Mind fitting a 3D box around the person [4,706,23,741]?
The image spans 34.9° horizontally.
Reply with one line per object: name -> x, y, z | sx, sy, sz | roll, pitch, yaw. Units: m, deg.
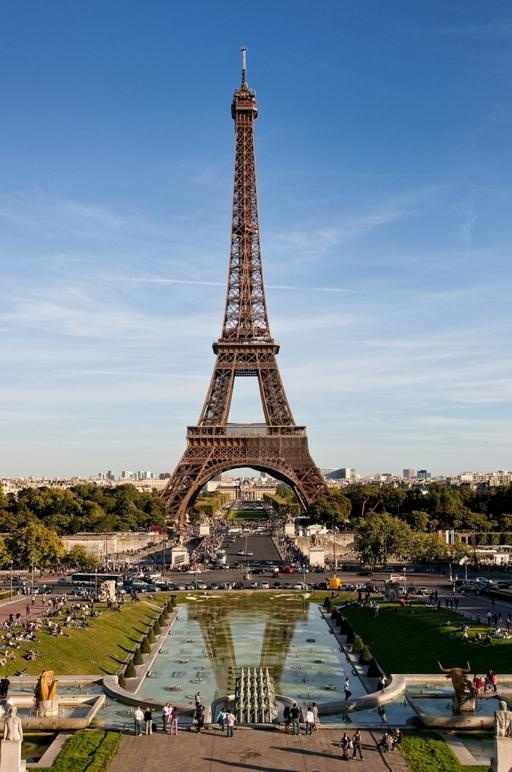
person -> -7.455, 10.435, 25.287 | 0.470, 1.039, 0.976 | 2, -8, -16

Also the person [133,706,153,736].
person -> -4.014, 12.090, 29.477 | 0.654, 0.882, 1.219 | 1, -8, -7

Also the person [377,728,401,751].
person -> 4.626, 12.216, 28.118 | 0.465, 0.461, 0.853 | 2, -10, -2

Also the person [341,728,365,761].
person -> 3.271, 12.126, 27.497 | 0.864, 1.374, 0.579 | 3, 25, 9

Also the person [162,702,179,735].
person -> -3.070, 12.192, 29.921 | 0.525, 0.836, 1.334 | 1, -8, -5

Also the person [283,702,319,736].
person -> 1.652, 12.108, 29.788 | 1.224, 0.844, 1.374 | 0, -8, 3

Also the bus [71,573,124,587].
bus -> -14.702, 17.960, 76.048 | 4.429, 0.931, 7.272 | 2, -8, -13
